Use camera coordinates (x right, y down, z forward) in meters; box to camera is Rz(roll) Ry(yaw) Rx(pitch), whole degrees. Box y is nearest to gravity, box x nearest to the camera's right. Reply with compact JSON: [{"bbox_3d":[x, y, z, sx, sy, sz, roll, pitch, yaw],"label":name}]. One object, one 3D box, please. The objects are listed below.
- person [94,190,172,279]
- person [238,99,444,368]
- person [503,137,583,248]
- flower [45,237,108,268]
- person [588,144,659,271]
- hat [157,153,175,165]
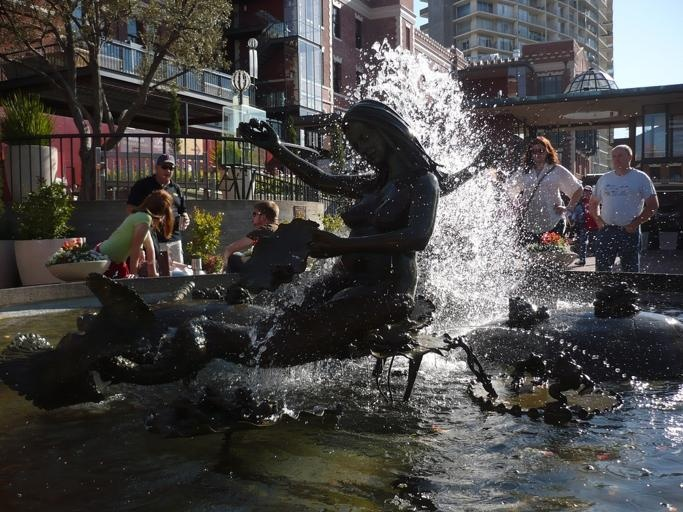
[{"bbox_3d":[-2.131,-0.191,7.345,0.640,0.849,1.118,-1,13,-1],"label":"person"},{"bbox_3d":[0.104,-0.170,3.909,0.812,1.314,0.970,0,13,7],"label":"person"},{"bbox_3d":[2.055,-0.427,7.622,0.917,1.567,0.409,2,12,21],"label":"person"},{"bbox_3d":[-3.147,-0.002,8.532,0.433,0.220,0.468,0,-3,-9],"label":"flower"},{"bbox_3d":[2.969,-0.425,7.638,0.668,1.397,0.836,3,13,18],"label":"person"},{"bbox_3d":[-2.182,-1.183,8.818,0.164,0.124,0.234,3,-4,-30],"label":"hat"}]
